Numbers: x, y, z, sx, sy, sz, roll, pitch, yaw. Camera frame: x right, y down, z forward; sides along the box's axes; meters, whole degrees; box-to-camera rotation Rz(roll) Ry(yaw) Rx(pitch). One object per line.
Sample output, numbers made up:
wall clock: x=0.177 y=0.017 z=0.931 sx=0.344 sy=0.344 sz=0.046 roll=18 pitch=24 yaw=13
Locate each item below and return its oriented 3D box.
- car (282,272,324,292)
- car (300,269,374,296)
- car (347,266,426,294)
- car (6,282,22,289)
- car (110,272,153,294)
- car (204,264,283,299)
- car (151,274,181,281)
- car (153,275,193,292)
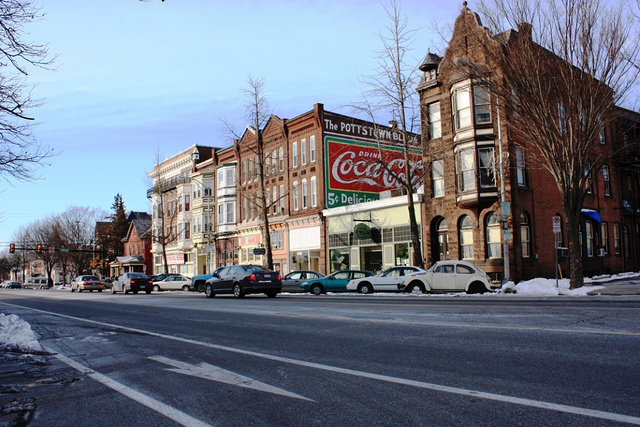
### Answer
car: x=-1.197 y=4.224 z=34.909 sx=2.331 sy=0.874 sz=1.132 roll=0 pitch=-7 yaw=7
car: x=0.615 y=4.108 z=33.414 sx=3.585 sy=1.353 sz=1.668 roll=-1 pitch=-7 yaw=13
car: x=3.256 y=3.569 z=30.292 sx=3.735 sy=1.391 sz=1.569 roll=-2 pitch=-7 yaw=25
car: x=-49.759 y=11.589 z=91.536 sx=1.353 sy=0.684 sz=2.236 roll=4 pitch=-9 yaw=-38
car: x=-15.263 y=5.547 z=45.276 sx=1.805 sy=1.229 sz=3.828 roll=2 pitch=-3 yaw=-29
car: x=-4.096 y=3.526 z=29.187 sx=1.656 sy=1.268 sz=3.644 roll=6 pitch=-9 yaw=-42
car: x=-13.783 y=5.576 z=49.435 sx=2.166 sy=0.804 sz=1.014 roll=1 pitch=-4 yaw=11
car: x=-12.588 y=6.003 z=48.332 sx=3.807 sy=1.422 sz=1.696 roll=0 pitch=-6 yaw=23
